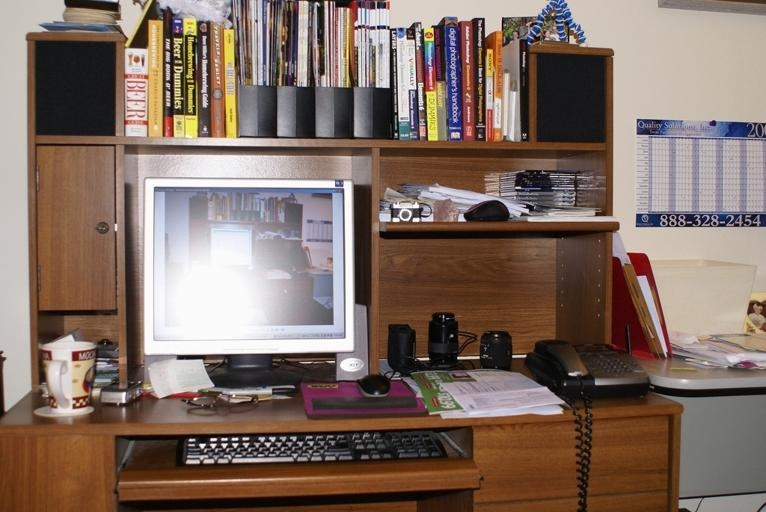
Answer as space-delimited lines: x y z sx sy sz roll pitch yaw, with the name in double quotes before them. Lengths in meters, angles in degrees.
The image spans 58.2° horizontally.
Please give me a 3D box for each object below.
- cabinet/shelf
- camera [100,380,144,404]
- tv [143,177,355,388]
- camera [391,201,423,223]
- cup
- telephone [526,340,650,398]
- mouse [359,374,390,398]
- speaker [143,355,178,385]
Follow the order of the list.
"cabinet/shelf" -0.221 0.057 2.362 2.287 1.254 0.730 0 1 -6
"camera" -0.842 0.445 2.251 0.097 0.056 0.108 -1 7 12
"tv" -0.460 0.070 2.353 0.865 0.694 0.263 0 -4 -5
"camera" 0.086 -0.156 2.444 0.145 0.085 0.073 0 0 -2
"cup" -0.972 0.375 2.178 0.153 0.217 0.105 -5 7 -21
"telephone" 0.681 0.373 2.335 0.327 0.154 0.247 -3 7 -6
"mouse" -0.023 0.421 2.251 0.100 0.058 0.086 -4 7 -15
"speaker" -0.743 0.387 2.325 0.118 0.091 0.052 -1 5 -6
